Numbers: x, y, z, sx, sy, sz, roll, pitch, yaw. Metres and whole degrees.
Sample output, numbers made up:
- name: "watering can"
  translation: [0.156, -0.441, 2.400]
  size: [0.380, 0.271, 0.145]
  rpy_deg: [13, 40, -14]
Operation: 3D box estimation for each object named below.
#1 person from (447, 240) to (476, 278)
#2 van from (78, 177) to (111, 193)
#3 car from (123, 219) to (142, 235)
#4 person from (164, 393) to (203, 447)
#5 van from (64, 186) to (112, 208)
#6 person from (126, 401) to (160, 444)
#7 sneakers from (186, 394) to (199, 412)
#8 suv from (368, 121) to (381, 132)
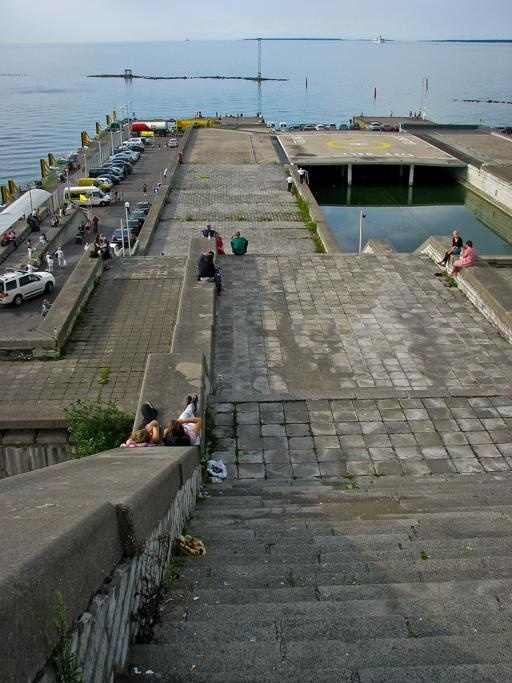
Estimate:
- name: "person"
  translation: [5.741, -2.306, 13.894]
  size: [0.545, 0.919, 1.098]
  rpy_deg: [0, -8, 1]
- name: "van"
  translation: [-13.458, -13.219, 42.425]
  size: [2.026, 0.958, 1.416]
  rpy_deg: [-4, 27, -9]
- name: "car"
  translation: [-7.688, -7.323, 32.163]
  size: [0.961, 0.757, 1.607]
  rpy_deg: [0, 35, 0]
- name: "person"
  translation: [-0.927, 1.033, 6.639]
  size: [0.408, 0.652, 0.828]
  rpy_deg: [-1, -8, 5]
- name: "van"
  translation: [-13.046, -11.215, 39.108]
  size: [3.338, 1.457, 1.888]
  rpy_deg: [-3, 35, -6]
- name: "person"
  translation: [-1.431, 1.048, 6.487]
  size: [0.438, 0.551, 0.856]
  rpy_deg: [2, -8, -11]
- name: "sneakers"
  translation: [-0.865, 0.860, 7.018]
  size: [0.090, 0.173, 0.251]
  rpy_deg: [0, 61, 2]
- name: "suv"
  translation: [14.757, -26.674, 63.158]
  size: [1.128, 0.866, 1.870]
  rpy_deg: [1, 39, 6]
